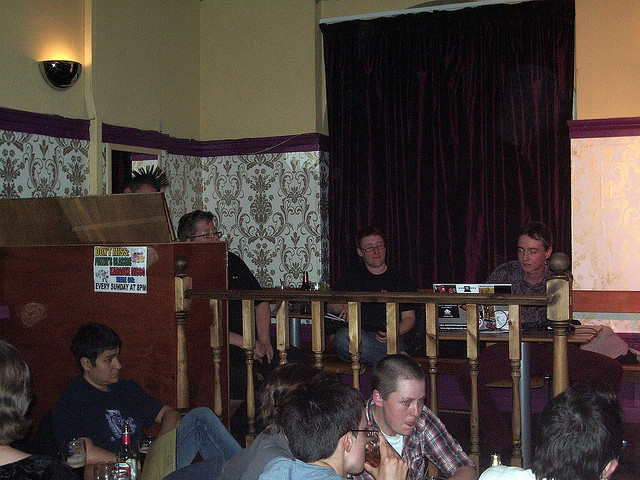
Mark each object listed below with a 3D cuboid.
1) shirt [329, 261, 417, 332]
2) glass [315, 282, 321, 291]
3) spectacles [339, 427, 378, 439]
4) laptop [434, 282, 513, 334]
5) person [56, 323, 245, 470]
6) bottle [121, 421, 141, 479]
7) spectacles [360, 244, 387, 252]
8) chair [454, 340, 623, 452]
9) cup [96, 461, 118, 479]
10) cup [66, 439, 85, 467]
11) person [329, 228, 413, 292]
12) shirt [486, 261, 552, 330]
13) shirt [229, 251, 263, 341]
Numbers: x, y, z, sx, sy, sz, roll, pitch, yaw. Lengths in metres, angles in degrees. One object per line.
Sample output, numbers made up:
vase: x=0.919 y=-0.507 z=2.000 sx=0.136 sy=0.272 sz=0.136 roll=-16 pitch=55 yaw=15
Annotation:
shirt: x=0.349 y=0.402 z=4.394 sx=0.589 sy=0.447 sz=0.453 roll=-2 pitch=1 yaw=15
glass: x=-0.015 y=0.396 z=5.484 sx=0.047 sy=0.101 sz=0.053 roll=-1 pitch=0 yaw=12
spectacles: x=0.128 y=0.670 z=2.217 sx=0.071 sy=0.021 sz=0.073 roll=-1 pitch=-9 yaw=-27
laptop: x=0.939 y=0.445 z=3.946 sx=0.441 sy=0.341 sz=0.334 roll=-1 pitch=-3 yaw=22
person: x=-0.739 y=0.696 z=3.078 sx=0.819 sy=0.777 sz=0.595 roll=-9 pitch=-4 yaw=21
bottle: x=-0.811 y=0.883 z=2.739 sx=0.075 sy=0.256 sz=0.364 roll=-2 pitch=1 yaw=-16
spectacles: x=0.369 y=0.059 z=4.462 sx=0.172 sy=0.047 sz=0.086 roll=-2 pitch=1 yaw=-4
chair: x=1.067 y=0.746 z=3.141 sx=0.721 sy=0.489 sz=0.736 roll=0 pitch=1 yaw=18
cup: x=-0.833 y=0.900 z=2.499 sx=0.065 sy=0.071 sz=0.067 roll=1 pitch=-4 yaw=0
cup: x=-1.002 y=0.872 z=2.620 sx=0.085 sy=0.106 sz=0.091 roll=1 pitch=1 yaw=0
person: x=0.331 y=0.215 z=4.611 sx=0.687 sy=0.570 sz=0.365 roll=-1 pitch=-3 yaw=-4
shirt: x=1.313 y=0.410 z=4.307 sx=0.366 sy=0.412 sz=0.414 roll=-9 pitch=-2 yaw=-34
shirt: x=-0.459 y=0.352 z=3.917 sx=0.193 sy=0.546 sz=0.486 roll=-2 pitch=1 yaw=-2
